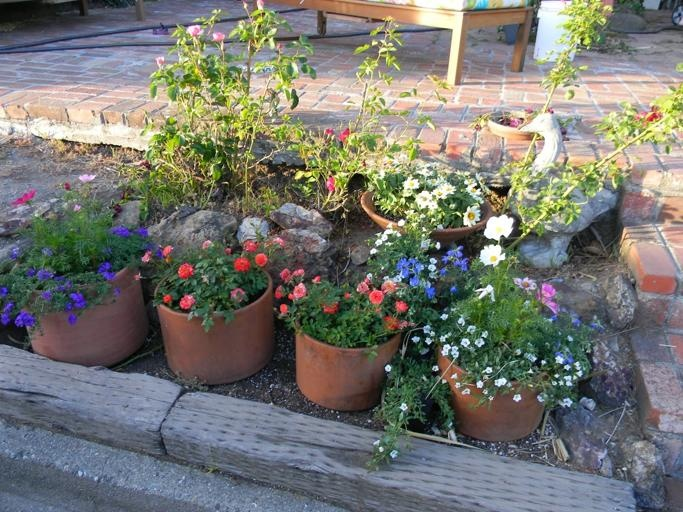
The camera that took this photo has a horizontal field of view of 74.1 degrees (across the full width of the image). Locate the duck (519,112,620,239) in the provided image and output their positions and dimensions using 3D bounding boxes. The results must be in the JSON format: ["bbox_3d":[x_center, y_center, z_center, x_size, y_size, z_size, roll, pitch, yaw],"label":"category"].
[{"bbox_3d":[1.302,-0.506,2.682,0.551,0.613,0.502,-19,40,-27],"label":"duck"}]
